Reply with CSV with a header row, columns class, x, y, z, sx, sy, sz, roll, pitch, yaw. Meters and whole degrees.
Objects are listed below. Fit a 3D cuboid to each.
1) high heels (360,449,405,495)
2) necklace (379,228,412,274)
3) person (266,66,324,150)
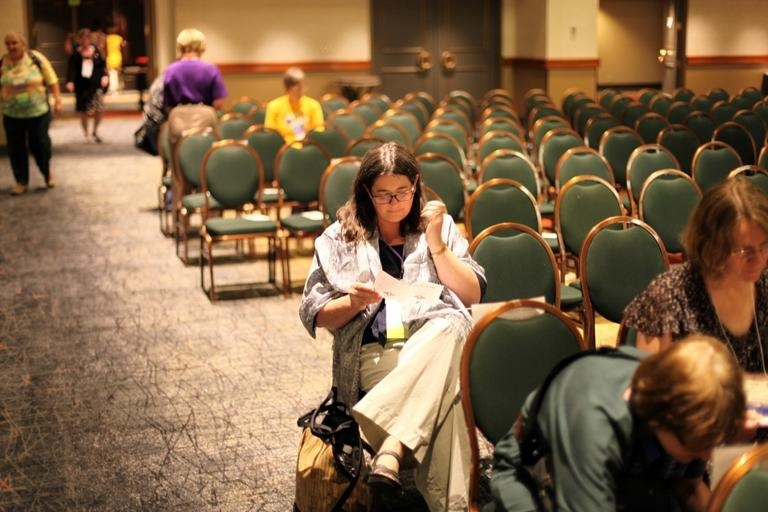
class,x,y,z,sx,sy,sz,roll,pitch,yaw
high heels,0.000,0.899,2.619,0.187,0.189,0.137,33,-41,-27
necklace,0.062,-0.024,3.083,0.113,0.206,0.132,-4,-4,-19
person,-1.018,-1.692,7.386,0.652,1.033,0.655,-2,18,-9
